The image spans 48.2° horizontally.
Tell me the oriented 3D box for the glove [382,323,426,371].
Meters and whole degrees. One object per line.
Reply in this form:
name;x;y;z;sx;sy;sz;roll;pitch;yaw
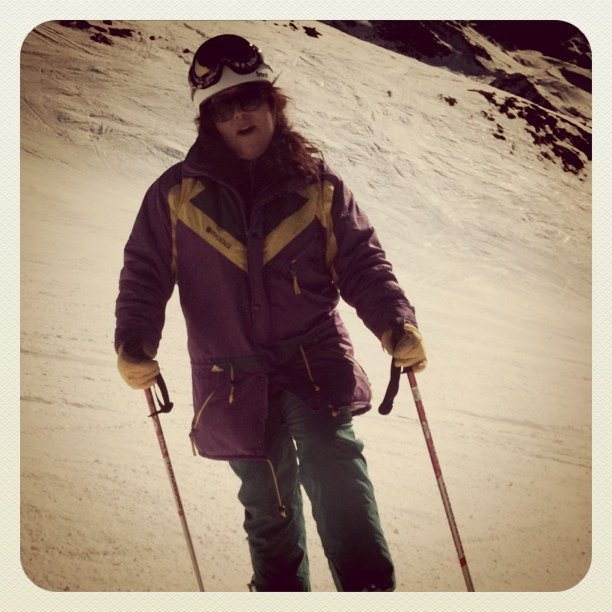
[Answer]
glove;0.436;0.182;3.025;0.219;0.209;0.121;13;18;6

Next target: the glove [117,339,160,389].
glove;-0.715;0.251;3.135;0.246;0.201;0.276;-5;21;-13
